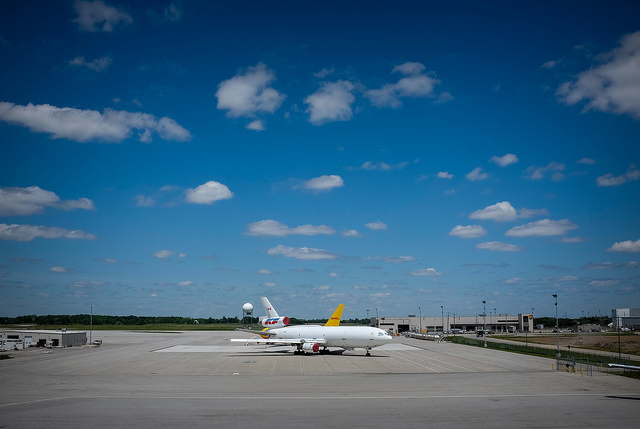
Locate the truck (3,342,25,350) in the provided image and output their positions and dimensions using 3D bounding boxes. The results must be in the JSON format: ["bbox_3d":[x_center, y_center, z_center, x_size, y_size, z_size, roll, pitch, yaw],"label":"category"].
[{"bbox_3d":[-83.363,36.353,118.128,5.024,1.239,3.072,-1,-5,11],"label":"truck"}]
